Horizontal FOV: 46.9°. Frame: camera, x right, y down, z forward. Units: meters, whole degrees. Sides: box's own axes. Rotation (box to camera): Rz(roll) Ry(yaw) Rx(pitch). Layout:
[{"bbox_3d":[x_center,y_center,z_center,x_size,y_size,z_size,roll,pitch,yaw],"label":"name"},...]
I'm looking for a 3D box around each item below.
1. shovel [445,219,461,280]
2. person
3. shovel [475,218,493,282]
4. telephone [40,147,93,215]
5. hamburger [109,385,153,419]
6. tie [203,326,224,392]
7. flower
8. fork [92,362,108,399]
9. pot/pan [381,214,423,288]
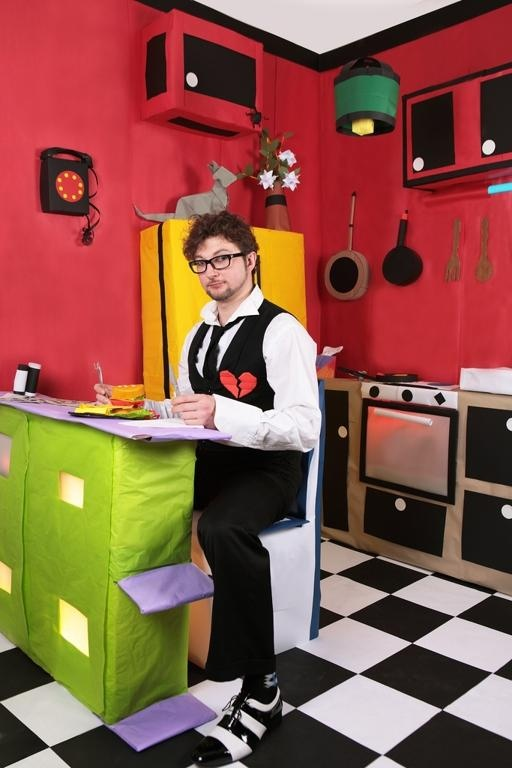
[{"bbox_3d":[0.968,-0.656,2.875,0.071,0.261,0.019,7,12,21],"label":"shovel"},{"bbox_3d":[-0.013,0.155,1.650,0.422,1.225,0.743,1,1,-5],"label":"person"},{"bbox_3d":[1.067,-0.630,2.776,0.089,0.294,0.012,-5,6,-13],"label":"shovel"},{"bbox_3d":[-0.777,-0.843,2.463,0.097,0.191,0.261,2,1,41],"label":"telephone"},{"bbox_3d":[-0.334,0.045,1.574,0.105,0.039,0.087,1,4,-3],"label":"hamburger"},{"bbox_3d":[-0.138,-0.073,1.847,0.048,0.168,0.120,-3,23,-10],"label":"tie"},{"bbox_3d":[0.076,-1.237,3.270,0.329,0.307,0.470,1,1,4],"label":"flower"},{"bbox_3d":[-0.611,-0.019,2.290,0.059,0.027,0.193,-9,38,-5],"label":"fork"},{"bbox_3d":[0.765,-0.707,3.124,0.090,0.366,0.233,1,1,-31],"label":"pot/pan"}]
